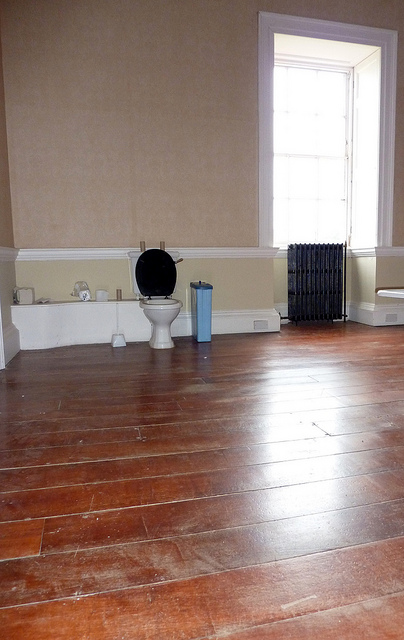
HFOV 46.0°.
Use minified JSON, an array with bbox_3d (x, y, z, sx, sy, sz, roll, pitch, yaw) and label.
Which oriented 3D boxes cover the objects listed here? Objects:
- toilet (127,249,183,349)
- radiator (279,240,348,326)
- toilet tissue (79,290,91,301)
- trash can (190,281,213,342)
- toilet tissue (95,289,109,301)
[{"bbox_3d":[-0.308,-0.176,3.552,0.383,0.727,0.600,-4,9,-21],"label":"toilet"},{"bbox_3d":[1.085,-0.359,4.557,0.519,0.755,0.238,-2,9,8],"label":"radiator"},{"bbox_3d":[-0.894,-0.192,3.664,0.091,0.079,0.092,-7,10,-26],"label":"toilet tissue"},{"bbox_3d":[-0.007,-0.070,3.790,0.157,0.453,0.346,-3,9,-1],"label":"trash can"},{"bbox_3d":[-0.771,-0.189,3.696,0.094,0.097,0.065,2,2,-8],"label":"toilet tissue"}]
